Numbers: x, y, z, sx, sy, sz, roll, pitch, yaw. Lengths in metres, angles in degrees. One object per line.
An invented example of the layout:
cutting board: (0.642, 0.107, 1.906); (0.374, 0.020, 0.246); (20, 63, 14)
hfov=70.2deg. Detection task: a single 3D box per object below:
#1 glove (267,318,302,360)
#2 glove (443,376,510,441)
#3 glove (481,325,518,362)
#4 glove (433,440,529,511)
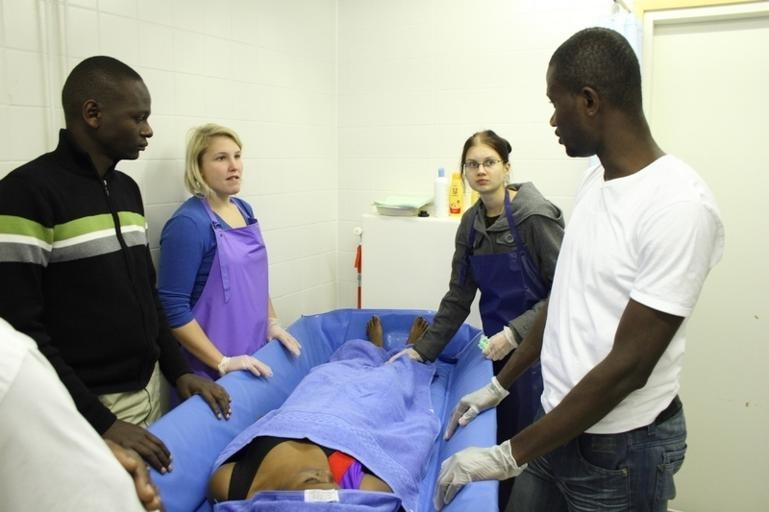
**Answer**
glove: (-0.509, 0.411, 2.779); (0.123, 0.057, 0.206); (-13, 42, -42)
glove: (0.362, 0.627, 2.288); (0.311, 0.105, 0.192); (-46, 5, -7)
glove: (0.547, 0.418, 2.578); (0.172, 0.085, 0.090); (-32, -8, -16)
glove: (0.297, 0.723, 1.821); (0.121, 0.179, 0.393); (26, -37, -30)
